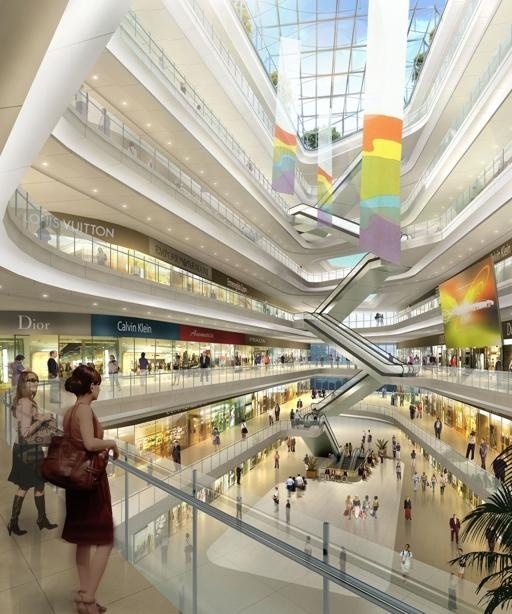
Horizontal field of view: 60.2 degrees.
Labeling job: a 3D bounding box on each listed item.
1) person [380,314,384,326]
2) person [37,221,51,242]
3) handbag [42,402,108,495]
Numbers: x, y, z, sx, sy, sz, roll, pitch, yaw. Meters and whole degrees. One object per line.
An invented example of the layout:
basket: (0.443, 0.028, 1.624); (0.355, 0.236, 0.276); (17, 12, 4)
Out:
person: (13.325, 1.360, 45.560); (0.348, 1.023, 1.950); (-6, 5, 16)
person: (-5.160, -1.777, 10.464); (0.170, 0.469, 0.780); (-9, 4, -15)
handbag: (-1.185, 0.874, 2.836); (0.360, 0.562, 0.231); (5, -22, 2)
